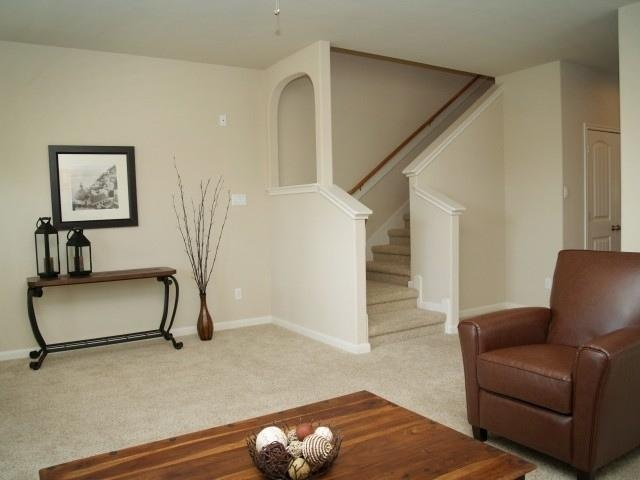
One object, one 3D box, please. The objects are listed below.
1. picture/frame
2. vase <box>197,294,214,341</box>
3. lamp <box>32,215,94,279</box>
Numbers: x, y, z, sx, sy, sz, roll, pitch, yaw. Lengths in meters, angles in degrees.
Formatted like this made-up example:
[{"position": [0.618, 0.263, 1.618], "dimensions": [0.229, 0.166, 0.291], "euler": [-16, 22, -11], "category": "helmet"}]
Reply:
[{"position": [-2.533, -0.583, 5.245], "dimensions": [0.896, 1.010, 0.075], "euler": [-3, 6, -30], "category": "picture/frame"}, {"position": [-1.350, 0.889, 5.607], "dimensions": [0.180, 0.549, 0.213], "euler": [-2, 8, -2], "category": "vase"}, {"position": [-2.711, 0.074, 5.013], "dimensions": [0.558, 0.609, 0.403], "euler": [-4, 8, -19], "category": "lamp"}]
